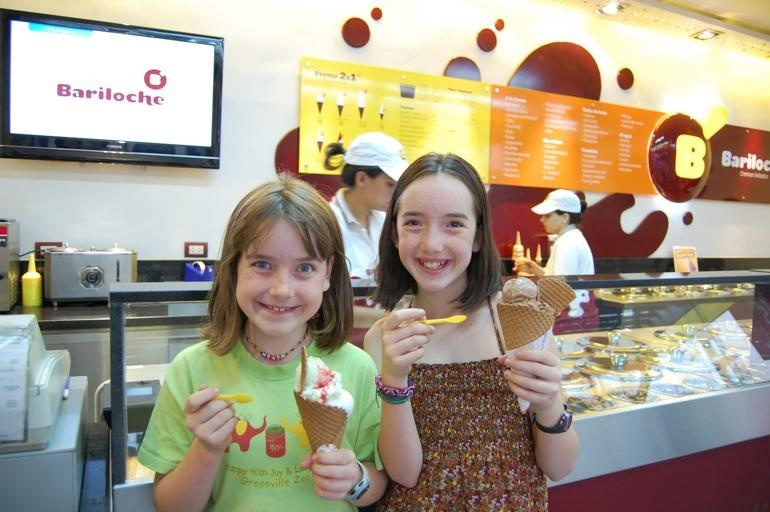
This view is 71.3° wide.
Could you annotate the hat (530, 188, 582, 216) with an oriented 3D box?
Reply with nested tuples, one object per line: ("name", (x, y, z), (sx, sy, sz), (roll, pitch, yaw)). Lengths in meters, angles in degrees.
("hat", (1.377, -0.410, 4.317), (0.301, 0.165, 0.228), (5, 2, 10))

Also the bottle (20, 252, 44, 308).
("bottle", (-2.209, 0.152, 3.352), (0.109, 0.338, 0.113), (-2, 4, 0))

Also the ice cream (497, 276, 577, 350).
("ice cream", (0.520, 0.231, 1.893), (0.195, 0.300, 0.234), (15, -8, 11))

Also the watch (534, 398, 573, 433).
("watch", (0.596, 0.567, 1.905), (0.101, 0.054, 0.102), (-10, 10, 38))

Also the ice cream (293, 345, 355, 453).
("ice cream", (-0.203, 0.473, 1.767), (0.182, 0.382, 0.133), (-4, 5, -25))

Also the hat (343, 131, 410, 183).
("hat", (-0.037, -0.583, 3.230), (0.415, 0.222, 0.313), (1, 10, 4))
